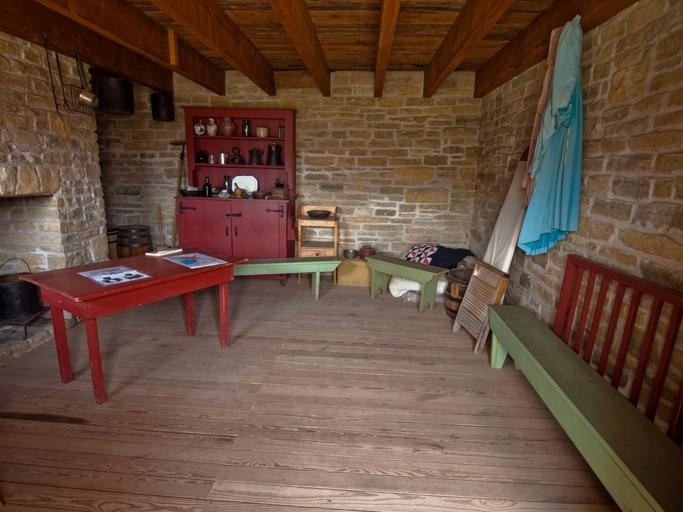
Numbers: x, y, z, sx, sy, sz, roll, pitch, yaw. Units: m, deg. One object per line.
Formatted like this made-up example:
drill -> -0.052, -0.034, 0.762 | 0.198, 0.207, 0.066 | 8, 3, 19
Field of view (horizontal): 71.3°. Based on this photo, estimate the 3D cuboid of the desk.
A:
desk -> -1.999, 0.617, 4.546 | 1.366, 1.039, 2.028 | -1, -10, -40

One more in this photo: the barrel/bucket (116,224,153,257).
barrel/bucket -> -2.726, -0.229, 6.650 | 0.639, 0.435, 0.526 | -1, 7, -6

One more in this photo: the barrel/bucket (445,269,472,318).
barrel/bucket -> 1.288, 0.433, 5.404 | 0.250, 0.550, 0.426 | 8, 12, 12

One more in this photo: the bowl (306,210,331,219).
bowl -> -0.322, -0.573, 6.551 | 0.293, 0.109, 0.200 | 2, 10, -9
